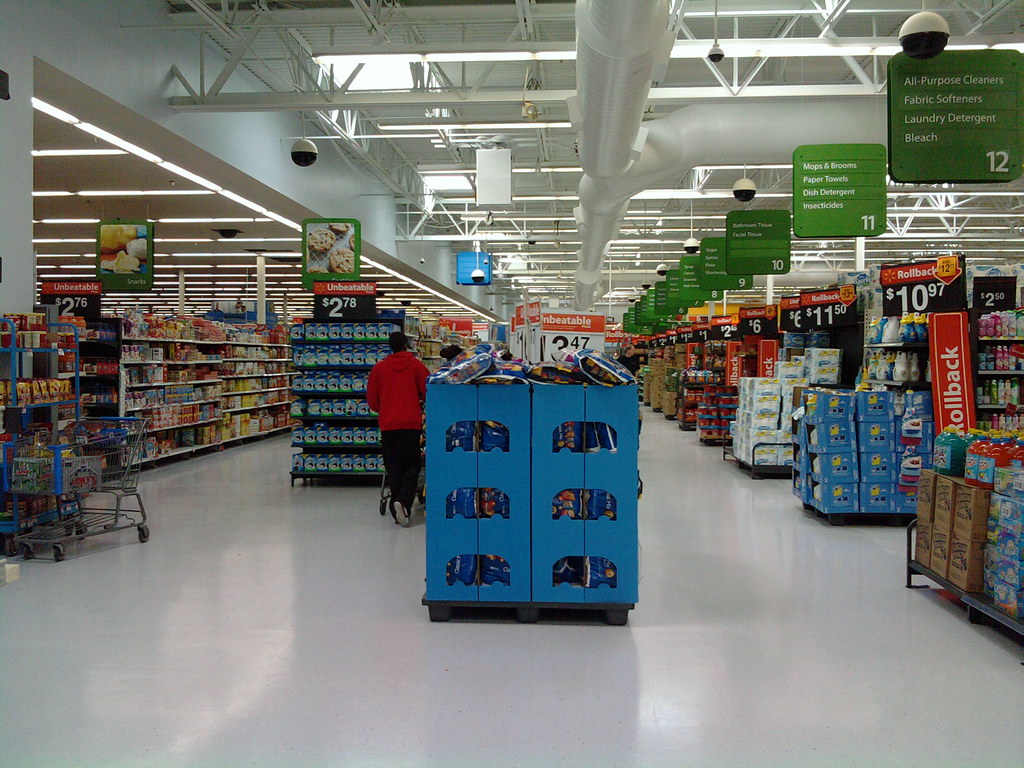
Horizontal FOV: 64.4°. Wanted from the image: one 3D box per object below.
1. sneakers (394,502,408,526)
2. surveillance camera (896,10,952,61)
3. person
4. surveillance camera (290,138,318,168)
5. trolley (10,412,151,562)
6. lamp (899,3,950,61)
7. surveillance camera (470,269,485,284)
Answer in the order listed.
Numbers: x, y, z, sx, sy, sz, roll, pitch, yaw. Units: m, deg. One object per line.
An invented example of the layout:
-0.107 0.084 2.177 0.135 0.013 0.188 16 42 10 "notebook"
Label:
-1.156 1.367 8.436 0.113 0.336 0.135 -11 -5 7 "sneakers"
3.527 -3.029 6.979 0.339 0.380 0.369 3 5 32 "surveillance camera"
-1.184 0.467 8.348 0.582 2.005 0.868 0 3 -9 "person"
-2.924 -3.322 11.441 0.284 0.344 0.364 0 4 -9 "surveillance camera"
-4.039 0.971 7.794 0.884 1.466 1.504 0 -6 0 "trolley"
3.527 -3.037 6.979 0.339 0.395 0.369 3 5 32 "lamp"
-0.844 -2.695 20.010 0.383 0.315 0.303 0 4 -11 "surveillance camera"
